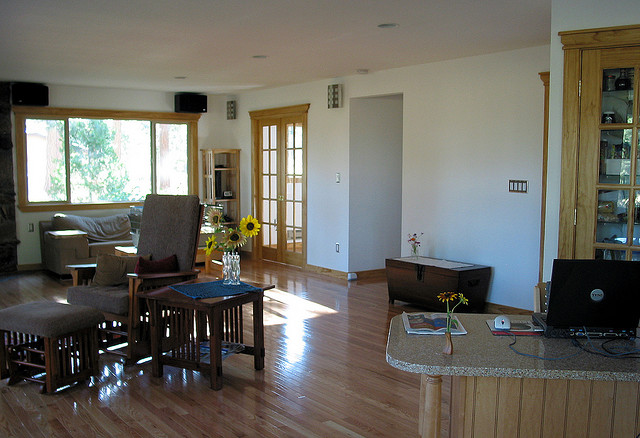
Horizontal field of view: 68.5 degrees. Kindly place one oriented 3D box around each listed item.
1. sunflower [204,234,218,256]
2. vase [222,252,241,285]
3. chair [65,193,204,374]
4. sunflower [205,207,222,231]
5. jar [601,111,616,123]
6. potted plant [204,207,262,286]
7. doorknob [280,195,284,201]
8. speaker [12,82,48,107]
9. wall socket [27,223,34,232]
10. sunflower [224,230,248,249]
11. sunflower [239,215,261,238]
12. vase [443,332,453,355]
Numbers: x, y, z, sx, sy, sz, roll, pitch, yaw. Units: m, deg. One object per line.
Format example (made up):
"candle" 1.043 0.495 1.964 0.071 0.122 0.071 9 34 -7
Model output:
"sunflower" -0.962 0.228 4.181 0.093 0.175 0.270 -2 9 -13
"vase" -0.792 0.426 4.202 0.160 0.296 0.169 -2 9 -12
"chair" -1.726 0.544 4.514 1.235 1.479 1.106 -5 10 -28
"sunflower" -0.927 -0.007 4.148 0.122 0.196 0.326 -2 9 -14
"jar" 2.262 -0.798 3.685 0.096 0.102 0.092 1 6 0
"potted plant" -0.827 0.248 4.374 0.433 0.754 0.835 -2 9 -14
"doorknob" -0.668 -0.373 8.333 0.105 0.087 0.035 2 2 45
"speaker" -4.691 -2.017 7.604 0.646 0.429 0.336 -2 3 -31
"wall socket" -4.886 0.138 7.953 0.083 0.138 0.018 -5 11 -31
"sunflower" -0.734 0.171 4.068 0.185 0.169 0.034 -13 19 -11
"sunflower" -0.606 0.072 4.032 0.154 0.185 0.160 -2 9 -10
"vase" 0.691 0.653 2.526 0.048 0.099 0.145 3 9 16
